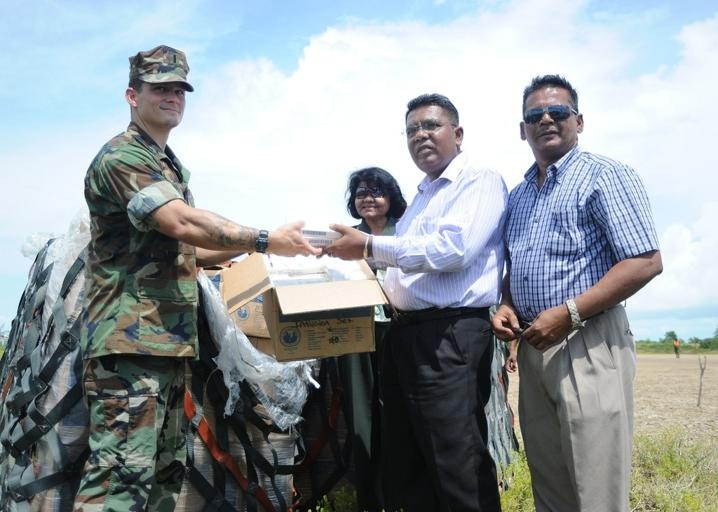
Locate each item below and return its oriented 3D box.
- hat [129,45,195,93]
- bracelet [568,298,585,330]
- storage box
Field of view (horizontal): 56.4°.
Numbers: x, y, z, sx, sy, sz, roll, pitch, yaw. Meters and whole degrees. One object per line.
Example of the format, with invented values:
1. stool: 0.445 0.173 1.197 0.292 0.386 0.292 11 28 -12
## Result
1. hat: -1.376 -1.317 4.674 0.483 0.264 0.415 10 11 21
2. bracelet: 1.322 0.357 4.062 0.078 0.177 0.122 -4 -2 34
3. storage box: -0.361 0.337 4.468 0.825 0.402 0.851 -4 14 -13
